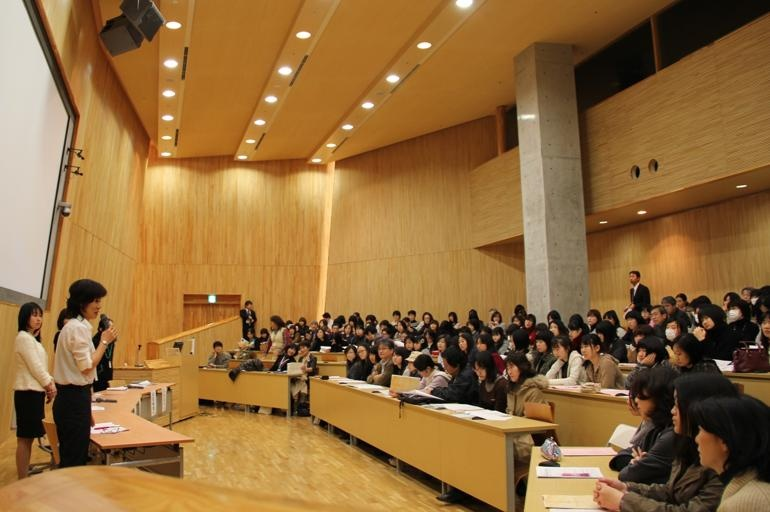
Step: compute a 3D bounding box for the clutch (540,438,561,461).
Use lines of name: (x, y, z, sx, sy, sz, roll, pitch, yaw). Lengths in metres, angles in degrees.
clutch: (1.238, 1.421, 3.808, 0.113, 0.146, 0.203, 11, -28, -10)

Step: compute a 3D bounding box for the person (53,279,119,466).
person: (-2.359, 0.894, 3.941, 0.400, 1.412, 0.325, 4, -8, -10)

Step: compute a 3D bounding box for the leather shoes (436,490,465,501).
leather shoes: (0.682, 2.447, 5.243, 0.199, 0.083, 0.115, 4, -14, -2)

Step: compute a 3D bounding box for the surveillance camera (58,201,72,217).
surveillance camera: (-4.563, -0.671, 7.278, 0.148, 0.215, 0.349, 8, -10, -35)

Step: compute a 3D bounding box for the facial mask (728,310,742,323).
facial mask: (4.389, 0.753, 6.380, 0.164, 0.121, 0.146, 10, -11, -6)
